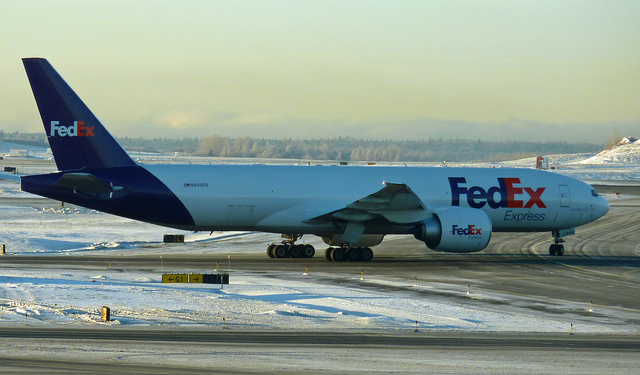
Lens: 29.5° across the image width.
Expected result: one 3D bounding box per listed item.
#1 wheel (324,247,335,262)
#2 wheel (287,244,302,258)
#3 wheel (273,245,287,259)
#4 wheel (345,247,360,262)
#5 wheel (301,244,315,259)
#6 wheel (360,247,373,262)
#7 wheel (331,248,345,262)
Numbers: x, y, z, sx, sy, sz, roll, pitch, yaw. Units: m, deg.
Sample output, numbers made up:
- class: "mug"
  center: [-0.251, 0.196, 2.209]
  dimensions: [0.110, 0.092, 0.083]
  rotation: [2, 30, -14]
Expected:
- class: "wheel"
  center: [0.545, 4.413, 79.906]
  dimensions: [0.276, 0.687, 0.821]
  rotation: [0, 20, 33]
- class: "wheel"
  center: [-1.527, 4.264, 79.934]
  dimensions: [1.173, 0.816, 0.339]
  rotation: [-1, -2, -1]
- class: "wheel"
  center: [-2.479, 4.277, 79.944]
  dimensions: [1.142, 0.798, 0.380]
  rotation: [3, 5, -6]
- class: "wheel"
  center: [2.268, 4.443, 79.480]
  dimensions: [1.250, 0.874, 0.338]
  rotation: [2, 2, -1]
- class: "wheel"
  center: [-0.662, 4.266, 80.090]
  dimensions: [1.082, 0.775, 0.330]
  rotation: [-8, 1, -19]
- class: "wheel"
  center: [3.162, 4.416, 79.630]
  dimensions: [1.185, 0.851, 0.400]
  rotation: [-4, 6, -25]
- class: "wheel"
  center: [1.312, 4.453, 79.436]
  dimensions: [1.188, 0.833, 0.328]
  rotation: [1, 0, -14]
